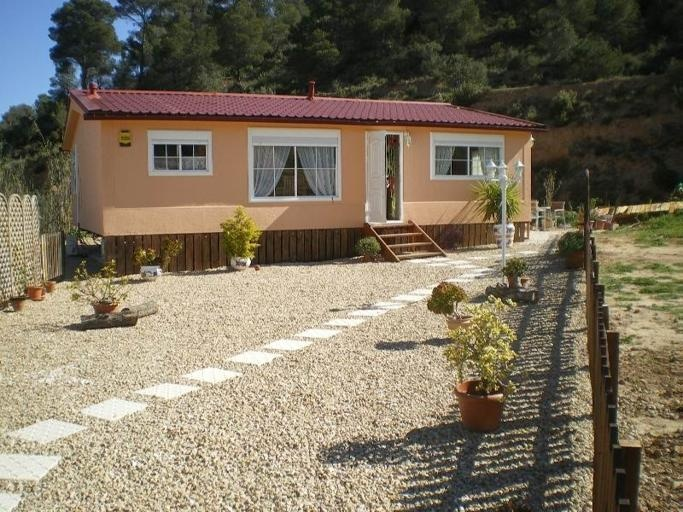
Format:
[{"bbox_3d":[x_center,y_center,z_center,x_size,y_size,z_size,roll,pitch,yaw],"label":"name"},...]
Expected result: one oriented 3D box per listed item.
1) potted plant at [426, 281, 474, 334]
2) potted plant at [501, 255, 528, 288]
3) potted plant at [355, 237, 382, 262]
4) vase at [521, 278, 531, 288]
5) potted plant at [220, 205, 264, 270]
[{"bbox_3d":[1.763,0.966,12.061,0.682,1.170,0.683,-6,19,-9],"label":"potted plant"},{"bbox_3d":[3.407,0.251,14.288,0.438,0.741,0.533,-9,14,-34],"label":"potted plant"},{"bbox_3d":[0.734,-0.191,18.634,0.610,0.624,0.673,14,20,42],"label":"potted plant"},{"bbox_3d":[3.682,0.588,14.349,0.143,0.084,0.201,-1,22,1],"label":"vase"},{"bbox_3d":[-2.450,-0.398,17.481,1.020,1.628,0.889,-7,15,-30],"label":"potted plant"}]
